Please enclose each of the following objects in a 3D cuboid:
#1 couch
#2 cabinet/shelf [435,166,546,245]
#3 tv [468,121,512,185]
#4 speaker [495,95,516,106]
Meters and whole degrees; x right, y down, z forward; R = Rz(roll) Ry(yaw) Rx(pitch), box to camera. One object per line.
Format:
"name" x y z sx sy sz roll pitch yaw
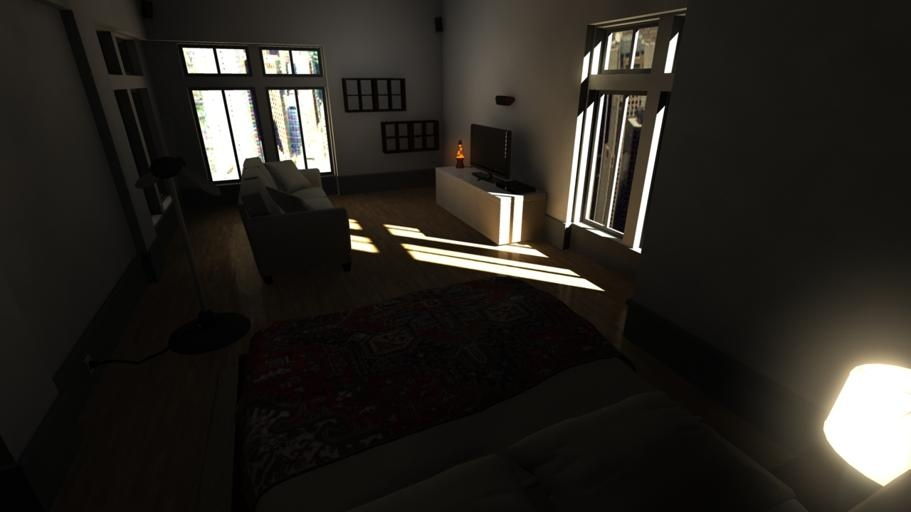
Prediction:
"couch" -2.299 -0.684 7.760 1.276 1.061 2.705 -6 22 -17
"cabinet/shelf" 0.494 -0.799 8.312 0.728 0.705 1.784 -14 29 -30
"tv" 0.567 -1.560 8.293 0.288 0.666 0.991 -16 31 -25
"speaker" 0.746 -2.316 8.153 0.107 0.204 0.437 -14 29 -29
